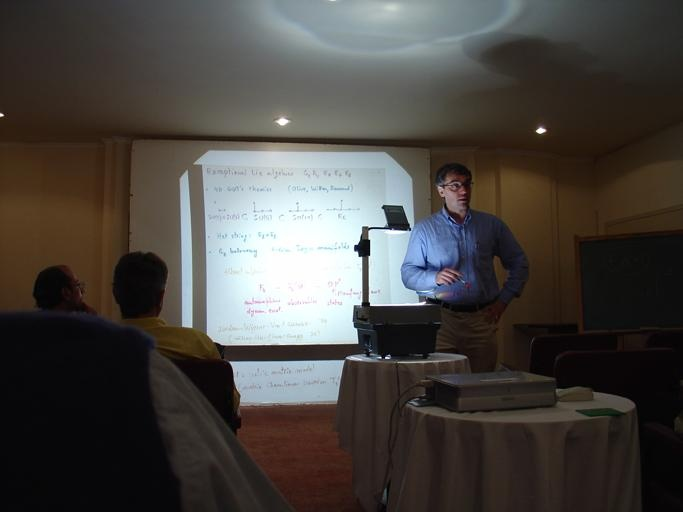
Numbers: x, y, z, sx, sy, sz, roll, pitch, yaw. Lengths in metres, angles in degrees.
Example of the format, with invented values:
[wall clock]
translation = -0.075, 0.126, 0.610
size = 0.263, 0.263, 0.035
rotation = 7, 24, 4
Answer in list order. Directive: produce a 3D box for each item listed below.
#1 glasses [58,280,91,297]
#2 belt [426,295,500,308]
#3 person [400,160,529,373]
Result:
[glasses]
translation = -1.610, 0.197, 3.295
size = 0.195, 0.065, 0.200
rotation = -10, -9, 7
[belt]
translation = 0.739, 0.283, 3.383
size = 0.447, 0.066, 0.108
rotation = -2, -1, -7
[person]
translation = 0.789, 0.058, 3.478
size = 0.816, 1.205, 0.457
rotation = -2, -1, 6
